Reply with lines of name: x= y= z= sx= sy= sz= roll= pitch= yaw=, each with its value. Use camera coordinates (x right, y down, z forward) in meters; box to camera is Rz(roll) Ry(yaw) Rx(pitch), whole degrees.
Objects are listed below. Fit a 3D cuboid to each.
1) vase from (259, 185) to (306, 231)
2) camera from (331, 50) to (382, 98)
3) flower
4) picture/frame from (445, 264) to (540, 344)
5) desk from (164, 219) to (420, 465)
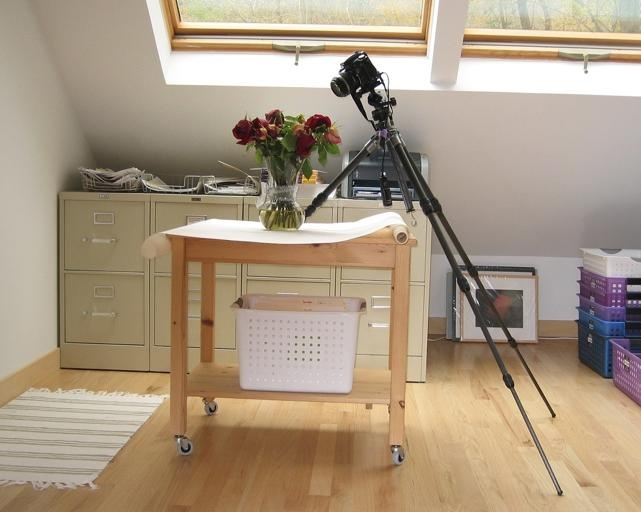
vase: x=-0.160 y=-0.189 z=2.049 sx=0.160 sy=0.176 sz=0.171 roll=0 pitch=7 yaw=-3
camera: x=0.123 y=-0.701 z=2.014 sx=0.180 sy=0.167 sz=0.155 roll=-30 pitch=-2 yaw=6
flower: x=-0.153 y=-0.328 z=2.131 sx=0.425 sy=0.489 sz=0.451 roll=2 pitch=-4 yaw=-20
picture/frame: x=1.162 y=0.335 z=3.626 sx=0.715 sy=0.776 sz=0.431 roll=0 pitch=-1 yaw=3
desk: x=-0.134 y=0.340 z=2.267 sx=0.933 sy=0.986 sz=0.736 roll=2 pitch=3 yaw=5
